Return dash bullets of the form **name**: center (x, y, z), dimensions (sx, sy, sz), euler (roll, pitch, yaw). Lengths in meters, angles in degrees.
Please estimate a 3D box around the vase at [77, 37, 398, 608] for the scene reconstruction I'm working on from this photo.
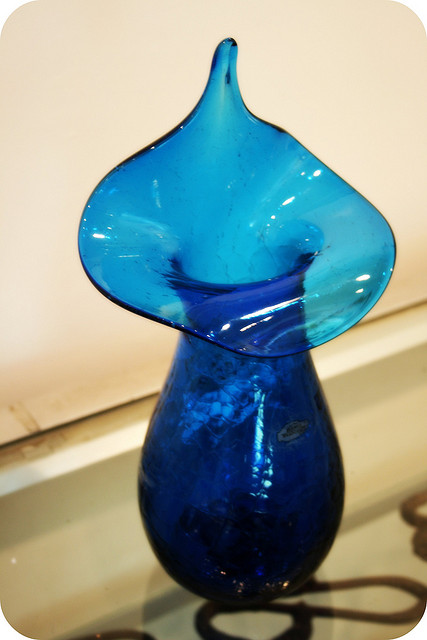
- **vase**: center (0.023, 0.001, 0.489), dimensions (0.230, 0.391, 0.287), euler (-12, 35, -4)
